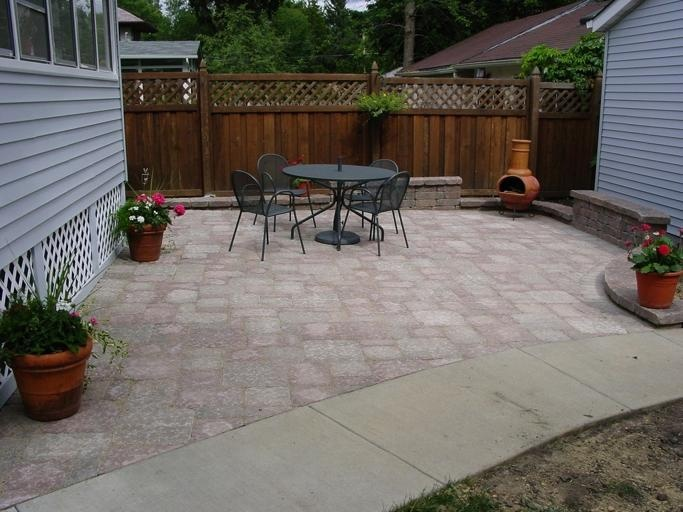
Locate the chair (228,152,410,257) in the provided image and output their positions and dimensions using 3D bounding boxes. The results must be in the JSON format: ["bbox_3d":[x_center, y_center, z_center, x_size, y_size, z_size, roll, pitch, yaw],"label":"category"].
[{"bbox_3d":[-0.051,-0.773,6.924,2.069,1.051,2.773,2,17,7],"label":"chair"}]

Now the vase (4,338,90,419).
[{"bbox_3d":[-1.608,0.725,2.748,0.536,0.348,0.492,-4,11,-30],"label":"vase"}]

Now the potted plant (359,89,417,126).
[{"bbox_3d":[0.803,-2.675,8.818,0.795,0.439,0.773,-18,24,-40],"label":"potted plant"}]
